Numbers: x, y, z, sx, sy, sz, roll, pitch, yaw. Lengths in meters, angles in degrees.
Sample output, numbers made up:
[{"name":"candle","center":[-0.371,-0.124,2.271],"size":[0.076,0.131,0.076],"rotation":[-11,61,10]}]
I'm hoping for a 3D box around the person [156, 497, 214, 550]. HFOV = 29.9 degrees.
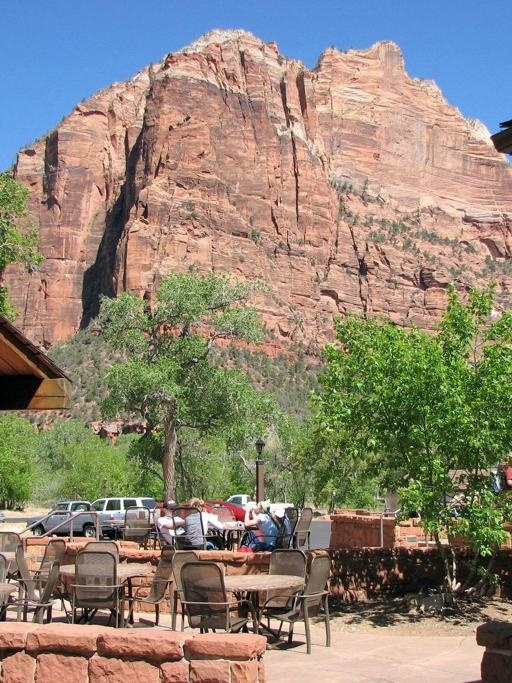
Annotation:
[{"name":"person","center":[-0.835,2.188,11.580],"size":[0.786,0.496,0.335],"rotation":[5,11,15]}]
